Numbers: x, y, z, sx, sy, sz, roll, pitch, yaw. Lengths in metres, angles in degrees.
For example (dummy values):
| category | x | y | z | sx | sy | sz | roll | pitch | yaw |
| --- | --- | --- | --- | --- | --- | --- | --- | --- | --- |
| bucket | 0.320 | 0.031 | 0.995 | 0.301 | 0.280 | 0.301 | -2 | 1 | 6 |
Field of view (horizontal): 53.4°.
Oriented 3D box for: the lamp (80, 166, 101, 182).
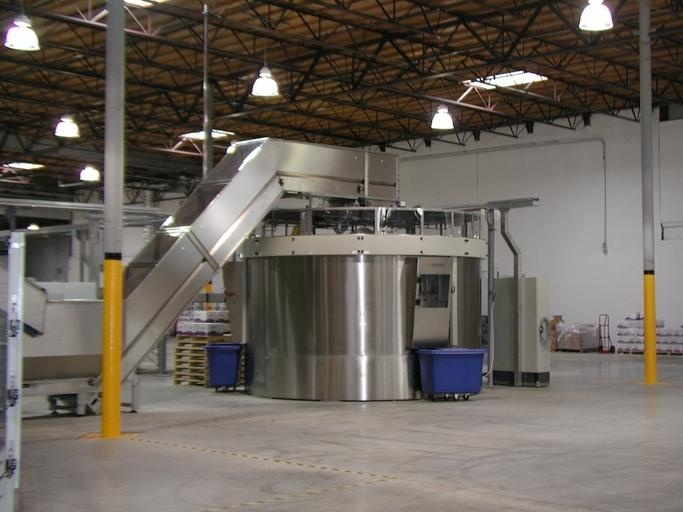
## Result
| category | x | y | z | sx | sy | sz | roll | pitch | yaw |
| --- | --- | --- | --- | --- | --- | --- | --- | --- | --- |
| lamp | -9.124 | -3.020 | 24.684 | 0.517 | 0.534 | 0.615 | -1 | -5 | -7 |

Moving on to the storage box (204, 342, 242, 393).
| category | x | y | z | sx | sy | sz | roll | pitch | yaw |
| --- | --- | --- | --- | --- | --- | --- | --- | --- | --- |
| storage box | -2.500 | 2.350 | 14.885 | 1.042 | 1.145 | 0.860 | 0 | 1 | 9 |

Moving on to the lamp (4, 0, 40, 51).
| category | x | y | z | sx | sy | sz | roll | pitch | yaw |
| --- | --- | --- | --- | --- | --- | --- | --- | --- | --- |
| lamp | -6.572 | -4.615 | 13.946 | 0.613 | 0.761 | 0.270 | 1 | -5 | -22 |

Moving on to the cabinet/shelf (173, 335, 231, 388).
| category | x | y | z | sx | sy | sz | roll | pitch | yaw |
| --- | --- | --- | --- | --- | --- | --- | --- | --- | --- |
| cabinet/shelf | -3.486 | 2.460 | 16.257 | 1.135 | 1.307 | 1.493 | -4 | -7 | 29 |

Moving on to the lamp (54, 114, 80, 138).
| category | x | y | z | sx | sy | sz | roll | pitch | yaw |
| --- | --- | --- | --- | --- | --- | --- | --- | --- | --- |
| lamp | -8.384 | -3.993 | 20.792 | 0.519 | 0.867 | 1.404 | 0 | -5 | -19 |

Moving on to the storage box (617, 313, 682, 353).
| category | x | y | z | sx | sy | sz | roll | pitch | yaw |
| --- | --- | --- | --- | --- | --- | --- | --- | --- | --- |
| storage box | 11.777 | 2.959 | 26.065 | 2.462 | 1.568 | 1.152 | -5 | -6 | 32 |

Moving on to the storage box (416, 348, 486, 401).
| category | x | y | z | sx | sy | sz | roll | pitch | yaw |
| --- | --- | --- | --- | --- | --- | --- | --- | --- | --- |
| storage box | 2.139 | 2.269 | 13.095 | 1.109 | 0.779 | 0.856 | 2 | -5 | -11 |

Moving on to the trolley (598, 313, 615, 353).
| category | x | y | z | sx | sy | sz | roll | pitch | yaw |
| --- | --- | --- | --- | --- | --- | --- | --- | --- | --- |
| trolley | 10.690 | 3.065 | 27.394 | 0.530 | 1.543 | 0.525 | -3 | -5 | 21 |
